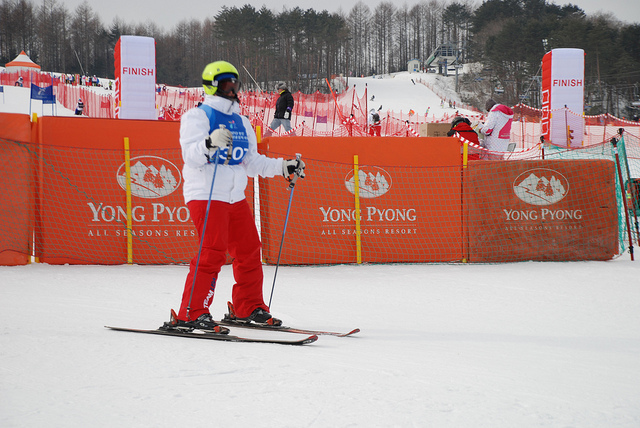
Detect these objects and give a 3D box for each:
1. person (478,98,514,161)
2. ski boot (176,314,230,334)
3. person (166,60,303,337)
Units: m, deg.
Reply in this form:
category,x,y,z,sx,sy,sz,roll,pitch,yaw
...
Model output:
category,x,y,z,sx,sy,sz,roll,pitch,yaw
person,3.465,-1.684,15.801,0.634,1.201,1.229,0,5,12
ski boot,-1.401,1.334,9.929,0.651,0.249,0.248,1,-8,4
person,-1.194,-0.241,10.005,1.286,3.315,0.740,-2,5,-11
